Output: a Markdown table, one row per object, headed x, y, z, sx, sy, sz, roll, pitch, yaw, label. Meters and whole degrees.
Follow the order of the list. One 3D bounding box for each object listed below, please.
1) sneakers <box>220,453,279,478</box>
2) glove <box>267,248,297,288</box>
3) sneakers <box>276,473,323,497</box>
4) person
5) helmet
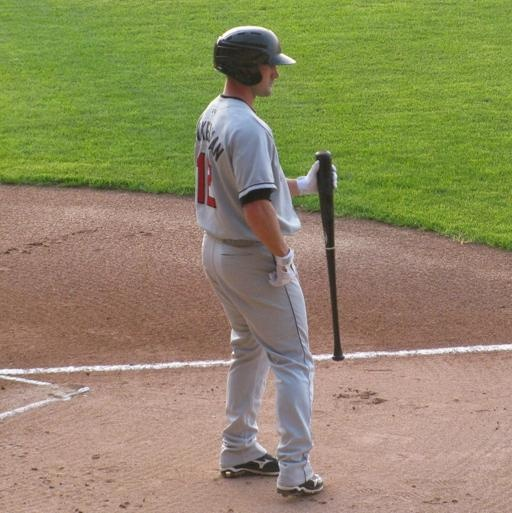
| x | y | z | sx | sy | sz | roll | pitch | yaw | label |
| --- | --- | --- | --- | --- | --- | --- | --- | --- | --- |
| -0.019 | 1.706 | 10.039 | 0.522 | 0.225 | 0.184 | -6 | 16 | -5 | sneakers |
| 0.228 | 0.078 | 9.654 | 0.294 | 0.300 | 0.190 | -21 | 31 | -37 | glove |
| 0.350 | 1.816 | 9.742 | 0.373 | 0.172 | 0.146 | -11 | 14 | -23 | sneakers |
| 0.024 | 0.044 | 9.704 | 0.918 | 3.561 | 1.288 | -3 | 18 | -5 | person |
| -0.004 | -1.625 | 9.759 | 0.614 | 0.382 | 0.398 | -3 | 24 | -3 | helmet |
